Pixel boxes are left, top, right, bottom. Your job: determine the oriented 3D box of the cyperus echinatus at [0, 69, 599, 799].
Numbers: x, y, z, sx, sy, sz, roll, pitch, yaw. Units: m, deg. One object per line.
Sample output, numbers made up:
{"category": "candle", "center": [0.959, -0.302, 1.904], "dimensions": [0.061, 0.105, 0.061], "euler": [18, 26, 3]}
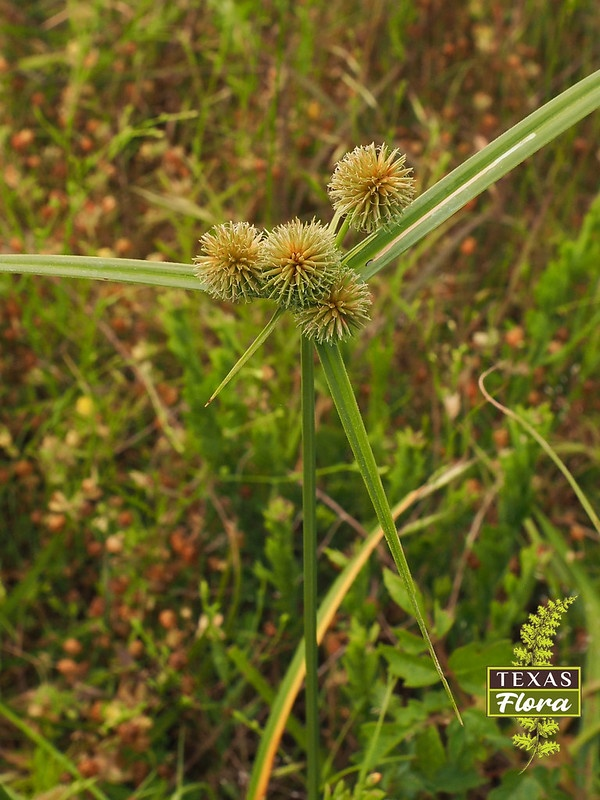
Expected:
{"category": "cyperus echinatus", "center": [0.027, 0.037, 1.222], "dimensions": [0.768, 0.828, 0.700], "euler": [2, 86, 61]}
